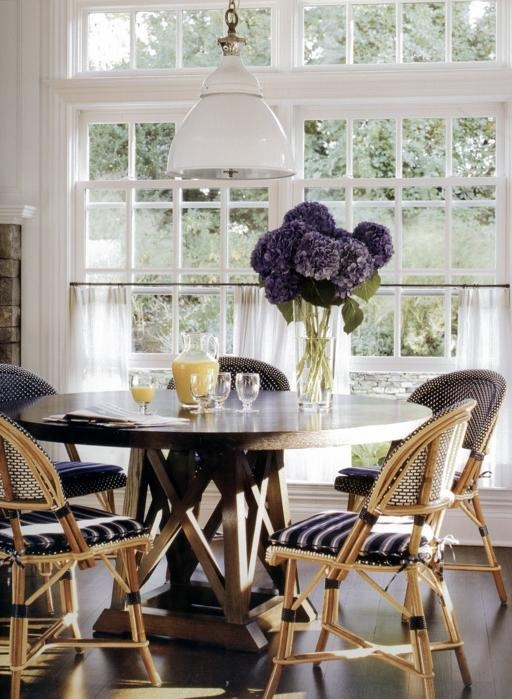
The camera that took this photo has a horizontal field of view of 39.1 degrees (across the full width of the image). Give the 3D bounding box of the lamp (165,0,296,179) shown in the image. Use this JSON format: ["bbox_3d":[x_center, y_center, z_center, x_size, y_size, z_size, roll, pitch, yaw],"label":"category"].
[{"bbox_3d":[-0.071,-0.796,2.149,0.298,0.536,0.332,5,8,38],"label":"lamp"}]

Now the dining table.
[{"bbox_3d":[-0.173,0.552,2.385,1.192,0.643,1.220,-3,-3,26],"label":"dining table"}]

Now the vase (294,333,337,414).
[{"bbox_3d":[0.172,0.073,2.315,0.153,0.227,0.147,1,0,11],"label":"vase"}]

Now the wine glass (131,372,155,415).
[{"bbox_3d":[-0.366,0.144,2.320,0.112,0.167,0.112,0,-4,-6],"label":"wine glass"}]

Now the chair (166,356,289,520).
[{"bbox_3d":[-0.070,0.270,3.153,0.502,0.557,0.426,0,-5,-3],"label":"chair"}]
